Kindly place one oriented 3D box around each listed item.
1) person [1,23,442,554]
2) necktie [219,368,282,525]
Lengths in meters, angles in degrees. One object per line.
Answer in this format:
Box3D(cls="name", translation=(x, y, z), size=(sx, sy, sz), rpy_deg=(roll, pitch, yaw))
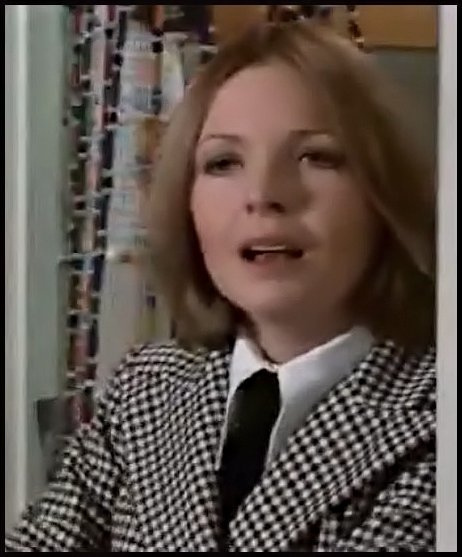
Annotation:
Box3D(cls="person", translation=(0.091, 0.061, 1.466), size=(0.644, 0.839, 0.457), rpy_deg=(15, 28, 9))
Box3D(cls="necktie", translation=(0.040, 0.272, 1.524), size=(0.085, 0.252, 0.039), rpy_deg=(17, -7, 26))
